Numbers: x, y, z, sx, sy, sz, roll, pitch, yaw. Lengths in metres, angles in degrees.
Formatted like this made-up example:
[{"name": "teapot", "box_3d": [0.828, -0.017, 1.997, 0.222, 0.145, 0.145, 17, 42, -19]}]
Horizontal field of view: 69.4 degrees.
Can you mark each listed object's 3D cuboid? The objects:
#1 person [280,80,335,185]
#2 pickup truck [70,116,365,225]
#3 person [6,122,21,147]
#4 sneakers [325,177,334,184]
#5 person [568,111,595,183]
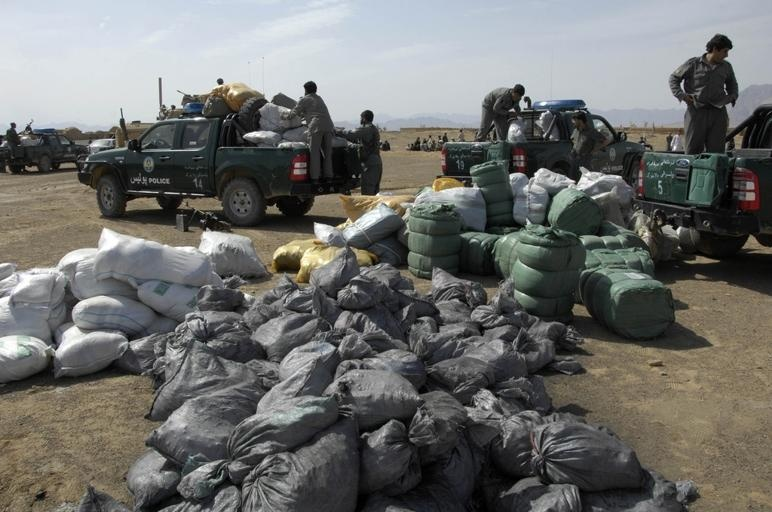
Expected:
[{"name": "person", "box_3d": [-1.394, -2.406, 10.768, 0.688, 1.873, 0.861, -7, 14, -17]}, {"name": "pickup truck", "box_3d": [-3.690, -1.672, 12.224, 6.096, 2.247, 2.557, 5, 8, 20]}, {"name": "person", "box_3d": [-15.399, -4.926, 22.885, 0.501, 0.936, 1.267, -11, 16, -32]}, {"name": "sneakers", "box_3d": [-1.116, -1.477, 10.831, 0.140, 0.099, 0.136, -3, 11, -19]}, {"name": "person", "box_3d": [3.995, -2.248, 11.386, 0.649, 1.345, 0.503, -4, 14, -5]}]
